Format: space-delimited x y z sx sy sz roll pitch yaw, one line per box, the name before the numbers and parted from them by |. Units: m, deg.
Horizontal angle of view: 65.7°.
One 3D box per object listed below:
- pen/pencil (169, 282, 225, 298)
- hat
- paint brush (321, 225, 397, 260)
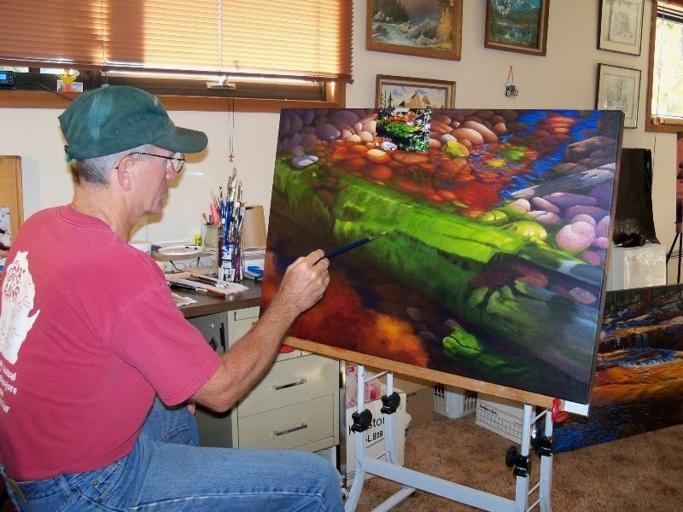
pen/pencil | -0.542 0.128 1.969 0.209 0.029 0.025 15 31 20
hat | -0.518 -0.325 1.321 0.300 0.145 0.187 -7 17 -21
paint brush | 0.063 -0.041 1.675 0.223 0.024 0.024 -22 -24 1
